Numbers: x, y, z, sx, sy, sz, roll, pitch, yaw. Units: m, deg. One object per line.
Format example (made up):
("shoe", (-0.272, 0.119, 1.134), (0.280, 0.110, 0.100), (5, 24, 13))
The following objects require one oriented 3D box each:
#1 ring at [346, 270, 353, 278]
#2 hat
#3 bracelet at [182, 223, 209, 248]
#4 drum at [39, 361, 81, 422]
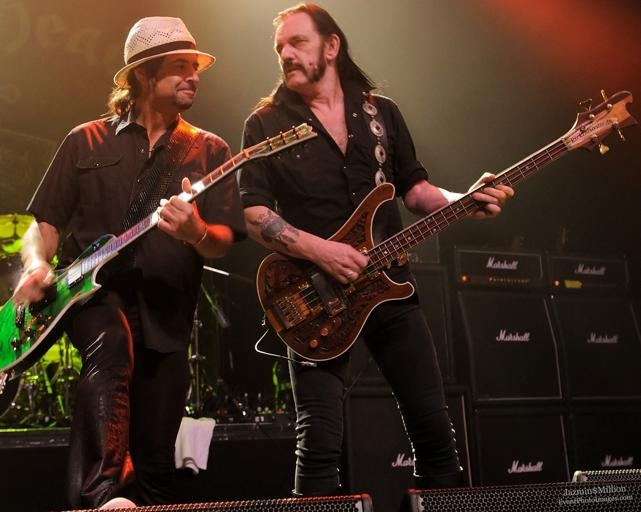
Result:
("ring", (0.140, 0.085, 3.131), (0.032, 0.019, 0.062), (0, -4, 2))
("hat", (-0.885, -1.120, 3.459), (0.529, 0.268, 0.502), (-14, 5, 14))
("bracelet", (-0.586, -0.102, 3.005), (0.107, 0.097, 0.061), (-4, -8, 3))
("drum", (-2.061, 1.075, 5.028), (0.365, 0.510, 0.378), (0, -9, 0))
